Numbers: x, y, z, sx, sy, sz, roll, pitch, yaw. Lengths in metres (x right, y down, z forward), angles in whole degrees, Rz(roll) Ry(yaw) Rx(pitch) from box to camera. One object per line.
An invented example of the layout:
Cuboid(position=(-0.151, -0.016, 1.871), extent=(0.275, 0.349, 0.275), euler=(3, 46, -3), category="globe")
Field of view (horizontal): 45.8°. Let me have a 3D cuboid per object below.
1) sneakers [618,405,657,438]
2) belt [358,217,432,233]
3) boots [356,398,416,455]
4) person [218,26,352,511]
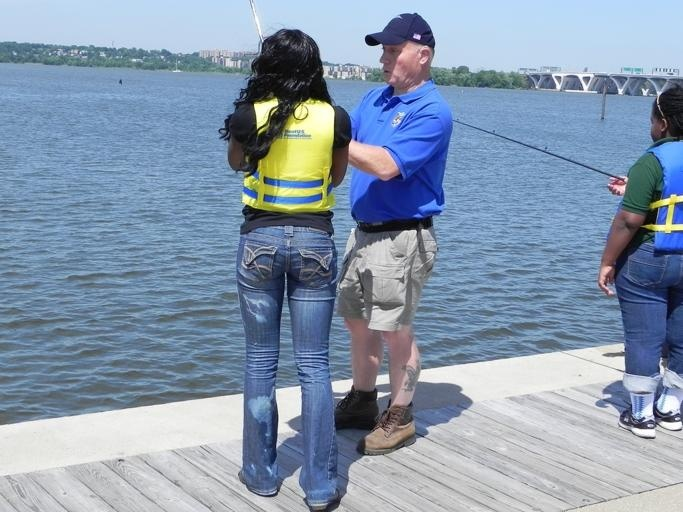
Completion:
Cuboid(position=(1.701, 0.966, 4.623), extent=(0.126, 0.085, 0.238), euler=(-1, 9, -10), category="sneakers")
Cuboid(position=(0.287, -0.170, 4.357), extent=(0.406, 0.090, 0.194), euler=(1, 12, 0), category="belt")
Cuboid(position=(0.236, 0.940, 4.400), extent=(0.219, 0.189, 0.461), euler=(20, 14, 34), category="boots")
Cuboid(position=(-0.265, 0.075, 3.806), extent=(0.581, 2.253, 0.618), euler=(1, 17, -1), category="person")
